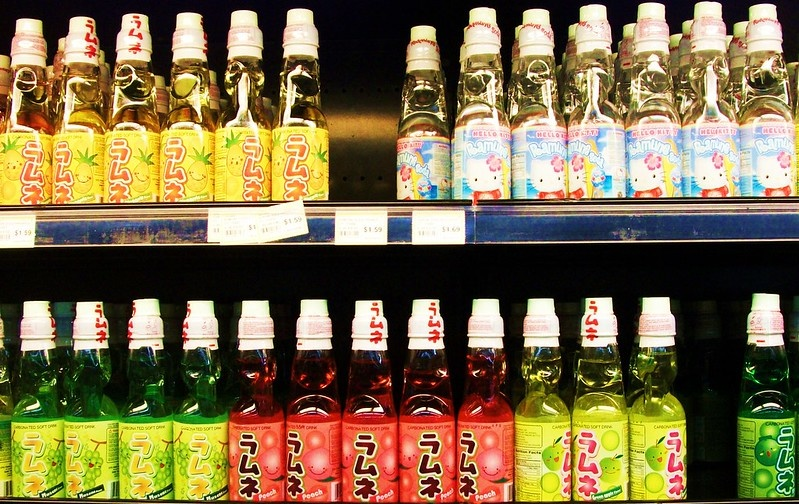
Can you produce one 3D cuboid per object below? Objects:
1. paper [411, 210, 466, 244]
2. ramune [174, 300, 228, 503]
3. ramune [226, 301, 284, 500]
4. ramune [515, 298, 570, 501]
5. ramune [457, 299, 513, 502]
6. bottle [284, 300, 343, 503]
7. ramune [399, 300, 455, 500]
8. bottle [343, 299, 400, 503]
[{"bbox_3d":[0.120,-0.067,2.050,0.178,0.090,0.116,-1,-8,14],"label":"paper"},{"bbox_3d":[-0.528,0.394,2.058,0.142,0.524,0.067,0,-9,-13],"label":"ramune"},{"bbox_3d":[-0.378,0.392,2.054,0.153,0.524,0.079,-2,-8,1],"label":"ramune"},{"bbox_3d":[0.376,0.388,2.078,0.151,0.530,0.160,-2,-8,7],"label":"ramune"},{"bbox_3d":[0.221,0.389,2.040,0.153,0.527,0.091,-2,-8,2],"label":"ramune"},{"bbox_3d":[-0.228,0.390,2.048,0.142,0.527,0.074,0,-8,-9],"label":"bottle"},{"bbox_3d":[0.062,0.389,2.059,0.148,0.534,0.132,1,-9,-18],"label":"ramune"},{"bbox_3d":[-0.079,0.392,2.044,0.147,0.524,0.107,0,-8,-8],"label":"bottle"}]
